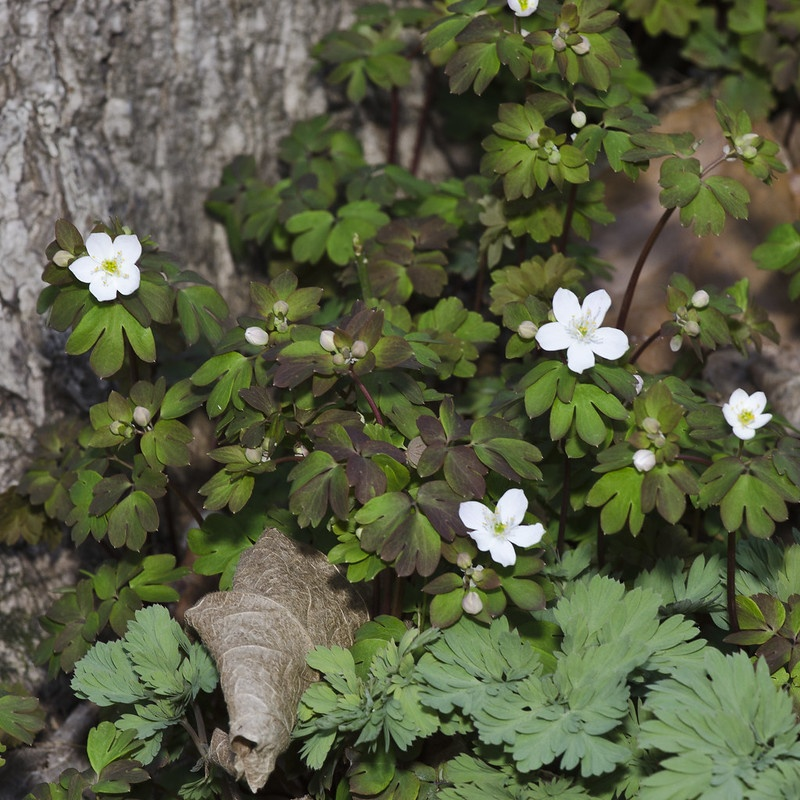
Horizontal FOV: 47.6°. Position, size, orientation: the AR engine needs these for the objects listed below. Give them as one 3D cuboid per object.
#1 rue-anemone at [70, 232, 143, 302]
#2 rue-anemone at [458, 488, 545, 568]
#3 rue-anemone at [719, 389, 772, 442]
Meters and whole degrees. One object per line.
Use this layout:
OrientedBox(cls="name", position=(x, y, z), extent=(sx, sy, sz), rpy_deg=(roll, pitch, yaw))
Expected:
OrientedBox(cls="rue-anemone", position=(-1.101, -0.503, 3.403), extent=(0.260, 0.209, 0.160), rpy_deg=(-9, 34, -16))
OrientedBox(cls="rue-anemone", position=(0.337, 0.432, 3.109), extent=(0.251, 0.080, 0.234), rpy_deg=(4, 8, -8))
OrientedBox(cls="rue-anemone", position=(1.192, 0.049, 3.106), extent=(0.193, 0.086, 0.188), rpy_deg=(-4, 45, 5))
